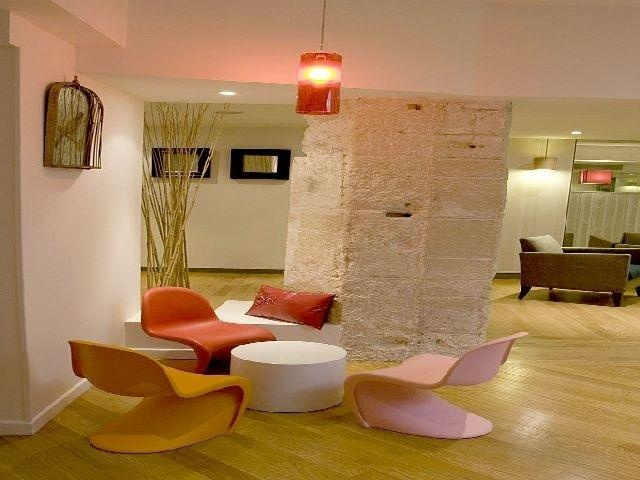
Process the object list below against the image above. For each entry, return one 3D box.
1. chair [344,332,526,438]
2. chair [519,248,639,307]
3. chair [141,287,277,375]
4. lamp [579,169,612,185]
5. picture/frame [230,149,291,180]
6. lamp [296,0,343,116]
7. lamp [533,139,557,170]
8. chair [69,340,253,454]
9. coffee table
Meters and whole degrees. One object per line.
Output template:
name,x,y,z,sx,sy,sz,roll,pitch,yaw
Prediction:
chair,0.671,0.896,3.064,1.066,0.468,0.854,1,0,33
chair,3.821,0.393,6.933,1.536,0.550,0.978,1,5,21
chair,-0.942,0.687,3.715,0.988,0.373,0.714,7,7,31
lamp,4.893,-1.106,8.193,0.582,0.272,0.103,1,10,-13
picture/frame,-1.023,-1.282,7.731,1.027,0.378,0.037,0,10,-2
lamp,-0.006,-1.049,3.066,0.280,0.427,0.127,3,10,-3
lamp,3.912,-1.469,7.973,0.317,0.528,0.361,10,12,36
chair,-0.919,0.845,2.865,0.949,0.448,0.912,3,3,38
coffee table,-0.229,0.956,3.267,0.665,0.178,0.536,1,1,0
